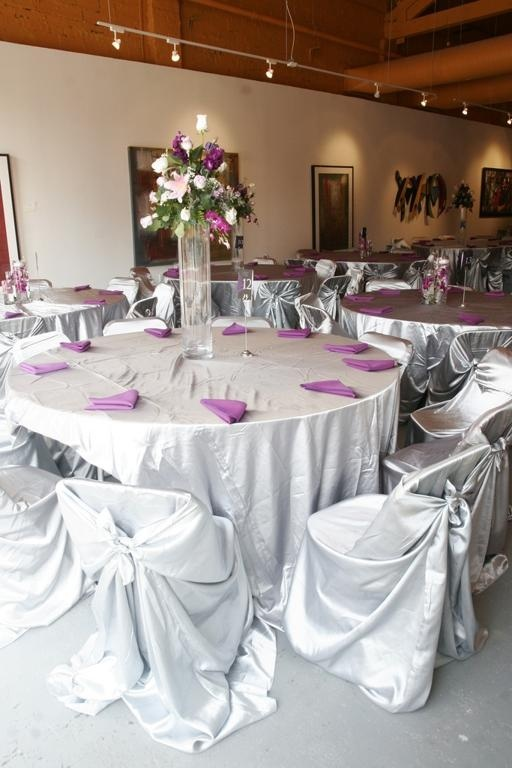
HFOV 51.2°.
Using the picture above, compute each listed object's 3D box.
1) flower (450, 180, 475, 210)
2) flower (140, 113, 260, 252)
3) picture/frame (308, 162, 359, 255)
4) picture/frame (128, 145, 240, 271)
[{"bbox_3d":[3.900,-3.572,10.124,0.318,0.565,0.582,3,12,14],"label":"flower"},{"bbox_3d":[-0.273,-0.783,2.212,0.445,0.477,0.344,-5,9,-10],"label":"flower"},{"bbox_3d":[1.420,-3.181,9.881,1.078,1.471,0.035,-17,22,-37],"label":"picture/frame"},{"bbox_3d":[-0.961,-2.434,7.353,1.454,1.481,0.027,-7,30,-19],"label":"picture/frame"}]
